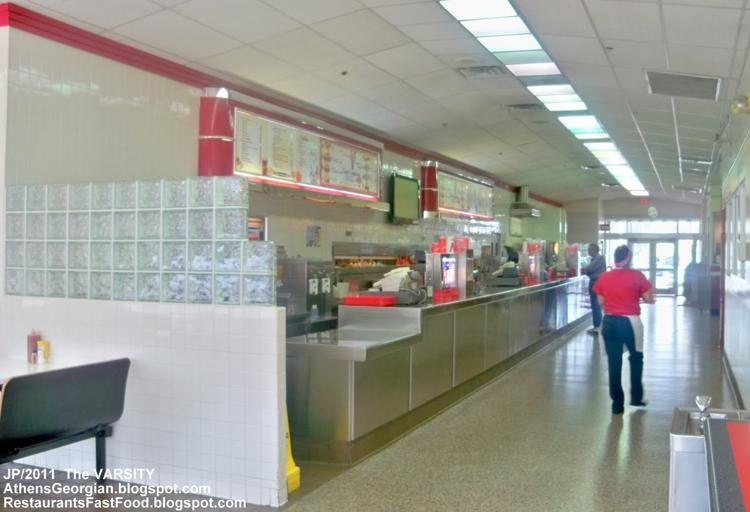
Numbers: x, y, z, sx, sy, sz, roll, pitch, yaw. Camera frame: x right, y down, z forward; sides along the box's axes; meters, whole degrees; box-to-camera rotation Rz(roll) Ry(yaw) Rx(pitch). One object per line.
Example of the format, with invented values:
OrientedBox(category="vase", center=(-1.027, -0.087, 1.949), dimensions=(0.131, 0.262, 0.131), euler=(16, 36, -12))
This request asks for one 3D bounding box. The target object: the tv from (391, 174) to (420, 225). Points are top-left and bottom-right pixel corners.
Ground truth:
OrientedBox(category="tv", center=(0.578, -1.101, 10.965), dimensions=(0.242, 0.835, 1.058), euler=(-2, -3, 28))

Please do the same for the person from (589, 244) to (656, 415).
OrientedBox(category="person", center=(2.842, 0.808, 6.472), dimensions=(0.594, 1.859, 0.602), euler=(0, 1, 31))
